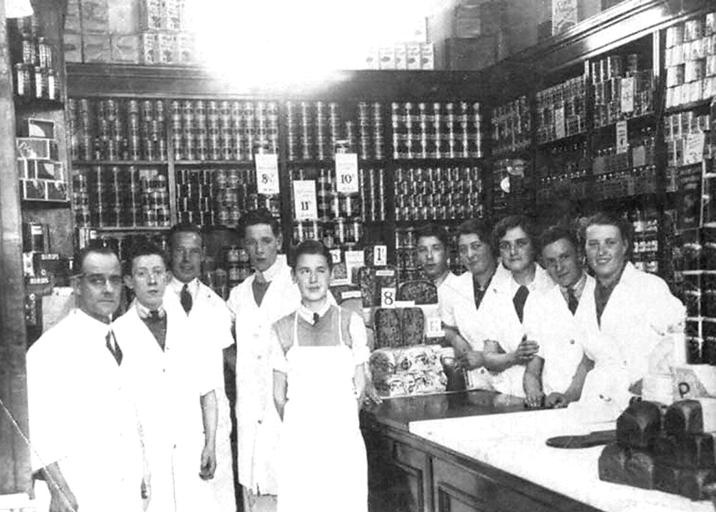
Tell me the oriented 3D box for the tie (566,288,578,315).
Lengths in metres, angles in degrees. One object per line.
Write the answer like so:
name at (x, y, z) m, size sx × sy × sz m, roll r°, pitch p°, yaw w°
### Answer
tie at (0.946, 0.205, 3.773) m, size 0.031 × 0.127 × 0.031 m, roll -17°, pitch 33°, yaw -9°

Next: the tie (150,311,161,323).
tie at (-0.849, 0.257, 3.600) m, size 0.012 × 0.039 × 0.048 m, roll -6°, pitch 9°, yaw 37°

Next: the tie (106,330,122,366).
tie at (-0.992, 0.379, 3.485) m, size 0.043 × 0.138 × 0.011 m, roll -22°, pitch -19°, yaw -31°

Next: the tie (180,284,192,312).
tie at (-0.748, 0.193, 3.717) m, size 0.022 × 0.105 × 0.057 m, roll 3°, pitch 15°, yaw 38°

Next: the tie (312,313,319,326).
tie at (-0.192, 0.289, 3.850) m, size 0.031 × 0.059 × 0.013 m, roll 2°, pitch 0°, yaw 1°
